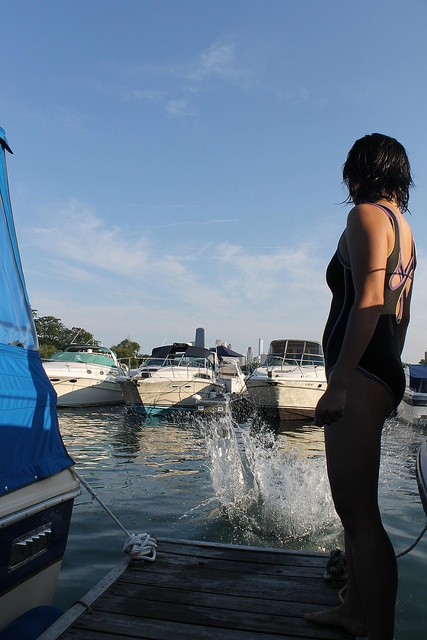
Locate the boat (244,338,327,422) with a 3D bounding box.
[{"bbox_3d":[2.446,2.010,16.497,1.994,2.014,4.383,1,-3,17],"label":"boat"}]

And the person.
[{"bbox_3d":[0.606,0.275,1.935,0.405,2.078,0.555,1,-6,11],"label":"person"}]

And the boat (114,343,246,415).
[{"bbox_3d":[-0.591,2.612,19.707,2.096,2.204,7.344,-4,-14,20],"label":"boat"}]

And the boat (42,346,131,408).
[{"bbox_3d":[-4.916,2.548,20.935,2.646,2.430,5.908,1,0,16],"label":"boat"}]
